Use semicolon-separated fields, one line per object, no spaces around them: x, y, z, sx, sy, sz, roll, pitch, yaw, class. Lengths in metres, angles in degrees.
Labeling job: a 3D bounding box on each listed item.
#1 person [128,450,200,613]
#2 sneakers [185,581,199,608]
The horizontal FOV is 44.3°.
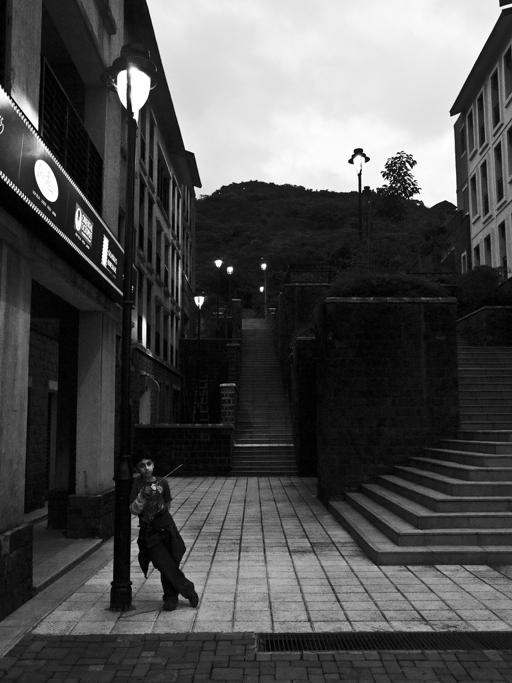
-0.797;1.649;5.484;0.586;1.243;0.330;0;-7;-8;person
-0.564;2.155;5.420;0.068;0.269;0.096;-9;3;23;sneakers
